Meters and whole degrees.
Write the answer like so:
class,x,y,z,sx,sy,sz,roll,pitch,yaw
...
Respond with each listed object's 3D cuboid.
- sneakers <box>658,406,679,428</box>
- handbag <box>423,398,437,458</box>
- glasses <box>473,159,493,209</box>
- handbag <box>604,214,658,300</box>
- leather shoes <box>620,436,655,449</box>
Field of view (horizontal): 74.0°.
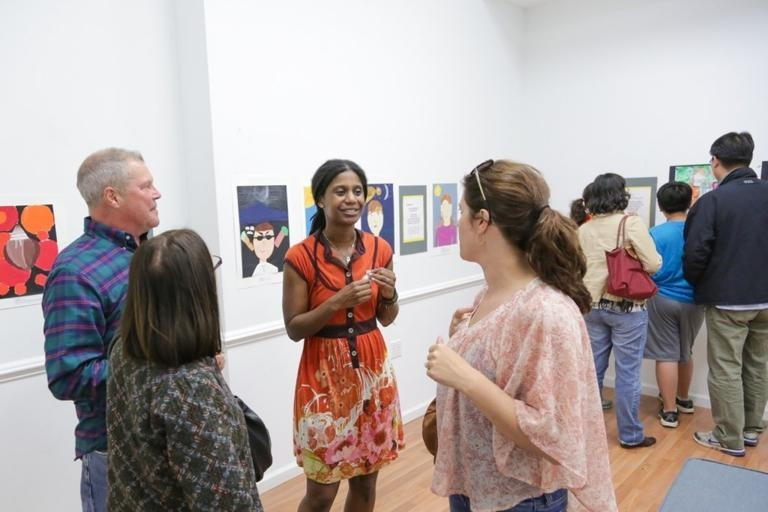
class,x,y,z,sx,sy,sz,roll,pitch,yaw
sneakers,2.476,1.391,4.413,0.091,0.105,0.235,-1,3,19
handbag,0.223,0.838,2.485,0.046,0.225,0.176,2,1,-11
glasses,0.439,-0.316,2.288,0.051,0.188,0.176,-13,18,-1
handbag,1.944,0.015,4.048,0.330,0.814,0.573,-8,-10,37
leather shoes,2.055,1.506,4.140,0.186,0.089,0.068,-10,14,-4
